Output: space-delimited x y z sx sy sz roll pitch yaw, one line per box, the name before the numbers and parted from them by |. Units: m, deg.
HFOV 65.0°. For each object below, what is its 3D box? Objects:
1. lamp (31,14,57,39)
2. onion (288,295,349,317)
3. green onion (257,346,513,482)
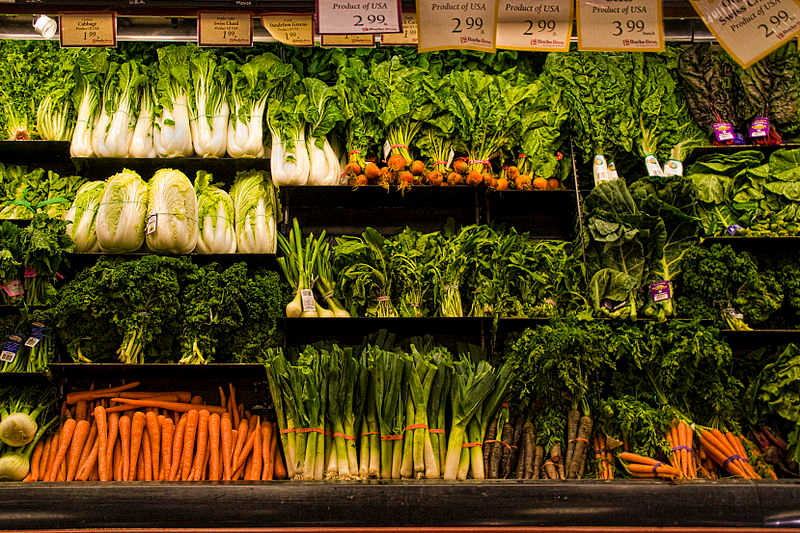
lamp | -3.388 -2.327 5.988 0.134 0.120 0.161 43 -6 33
onion | -0.708 0.350 5.466 0.537 0.181 0.234 -1 7 -7
green onion | -0.128 1.168 5.037 1.905 1.020 0.598 1 7 2
